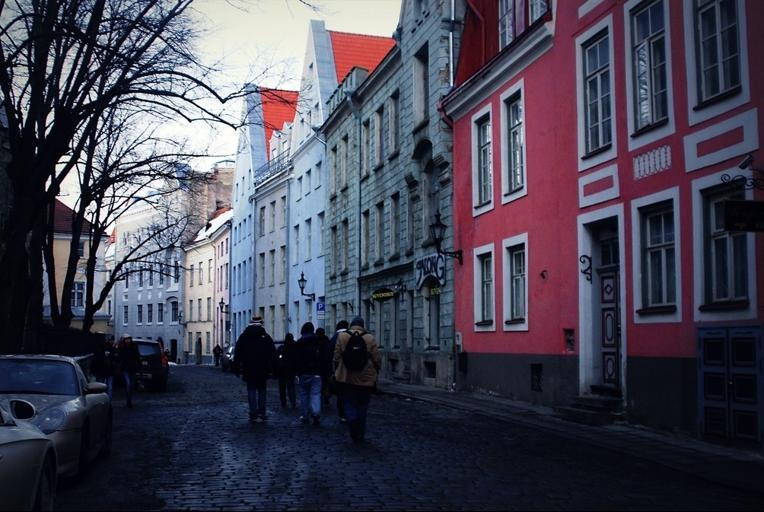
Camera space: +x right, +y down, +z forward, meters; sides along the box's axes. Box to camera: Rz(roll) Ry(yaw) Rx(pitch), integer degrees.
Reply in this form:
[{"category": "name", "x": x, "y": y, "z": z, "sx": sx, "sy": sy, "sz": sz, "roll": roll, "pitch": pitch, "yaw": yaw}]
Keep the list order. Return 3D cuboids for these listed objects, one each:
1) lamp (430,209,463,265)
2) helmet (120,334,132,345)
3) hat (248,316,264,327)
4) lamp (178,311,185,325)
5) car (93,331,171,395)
[{"category": "lamp", "x": 2.148, "y": -0.685, "z": 26.845, "sx": 1.002, "sy": 2.236, "sz": 1.763, "roll": 0, "pitch": -10, "yaw": -7}, {"category": "helmet", "x": -7.510, "y": 2.447, "z": 22.438, "sx": 0.224, "sy": 0.324, "sz": 0.318, "roll": -2, "pitch": -12, "yaw": 0}, {"category": "hat", "x": -3.051, "y": 1.586, "z": 18.648, "sx": 0.284, "sy": 0.206, "sz": 0.348, "roll": -1, "pitch": -6, "yaw": -3}, {"category": "lamp", "x": -20.153, "y": 6.151, "z": 76.855, "sx": 0.634, "sy": 1.277, "sz": 0.290, "roll": -8, "pitch": -11, "yaw": 34}, {"category": "car", "x": -8.737, "y": 4.048, "z": 27.455, "sx": 1.985, "sy": 2.111, "sz": 4.306, "roll": 1, "pitch": -3, "yaw": -12}]
